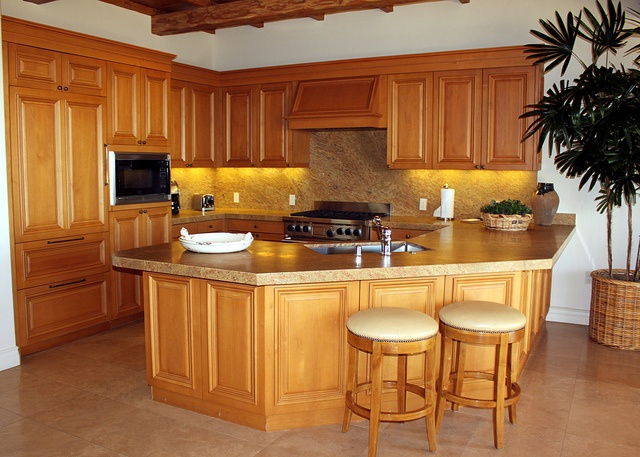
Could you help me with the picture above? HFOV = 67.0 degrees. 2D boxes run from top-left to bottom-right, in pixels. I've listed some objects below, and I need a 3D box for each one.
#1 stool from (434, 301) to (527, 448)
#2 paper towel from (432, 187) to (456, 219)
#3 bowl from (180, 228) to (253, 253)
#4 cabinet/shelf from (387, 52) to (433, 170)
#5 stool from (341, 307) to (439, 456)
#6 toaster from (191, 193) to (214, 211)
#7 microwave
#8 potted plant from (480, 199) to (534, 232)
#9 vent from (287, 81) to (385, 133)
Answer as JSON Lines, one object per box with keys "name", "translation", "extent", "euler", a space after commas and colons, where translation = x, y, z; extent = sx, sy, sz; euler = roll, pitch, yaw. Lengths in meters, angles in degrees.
{"name": "stool", "translation": [1.141, 1.003, 3.475], "extent": [0.588, 0.939, 0.558], "euler": [7, 17, 22]}
{"name": "paper towel", "translation": [1.488, -0.315, 5.815], "extent": [0.247, 0.409, 0.336], "euler": [4, 15, 13]}
{"name": "bowl", "translation": [-0.837, 0.079, 3.847], "extent": [0.535, 0.188, 0.429], "euler": [-3, 13, -14]}
{"name": "cabinet/shelf", "translation": [1.051, -1.265, 5.667], "extent": [0.599, 1.093, 0.293], "euler": [4, 17, 14]}
{"name": "stool", "translation": [0.487, 1.035, 3.287], "extent": [0.660, 0.950, 0.602], "euler": [1, 15, 2]}
{"name": "toaster", "translation": [-1.617, -0.368, 6.829], "extent": [0.297, 0.181, 0.268], "euler": [2, 6, 26]}
{"name": "microwave", "translation": [-2.025, -0.564, 5.326], "extent": [0.451, 0.441, 0.771], "euler": [4, 5, 29]}
{"name": "potted plant", "translation": [1.896, -0.125, 4.963], "extent": [0.396, 0.199, 0.422], "euler": [-2, 3, -31]}
{"name": "vent", "translation": [0.296, -1.601, 5.976], "extent": [1.315, 0.566, 0.658], "euler": [8, 34, 32]}
